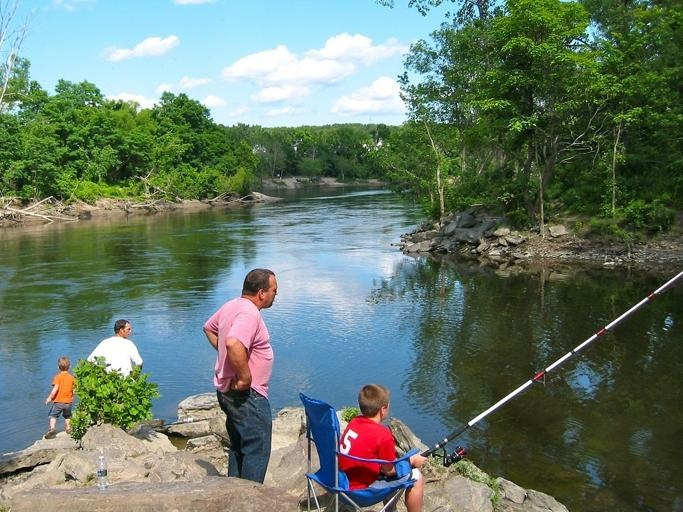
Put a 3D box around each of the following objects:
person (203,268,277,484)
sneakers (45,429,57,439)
[{"bbox_3d":[-1.368,1.684,8.027,0.884,2.942,0.901,-1,5,9],"label":"person"},{"bbox_3d":[-5.869,3.622,11.891,0.152,0.120,0.340,8,-19,-25],"label":"sneakers"}]
